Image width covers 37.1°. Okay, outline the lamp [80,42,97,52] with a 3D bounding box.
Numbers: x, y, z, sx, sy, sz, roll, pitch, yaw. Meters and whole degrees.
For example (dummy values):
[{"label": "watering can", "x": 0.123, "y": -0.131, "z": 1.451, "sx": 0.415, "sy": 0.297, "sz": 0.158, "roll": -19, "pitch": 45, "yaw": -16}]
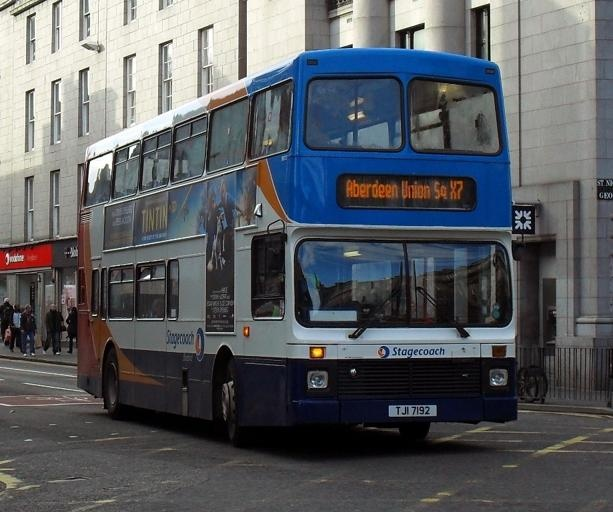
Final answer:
[{"label": "lamp", "x": -9.972, "y": -9.516, "z": 41.912, "sx": 0.546, "sy": 0.202, "sz": 0.575, "roll": 6, "pitch": -7, "yaw": 7}]
